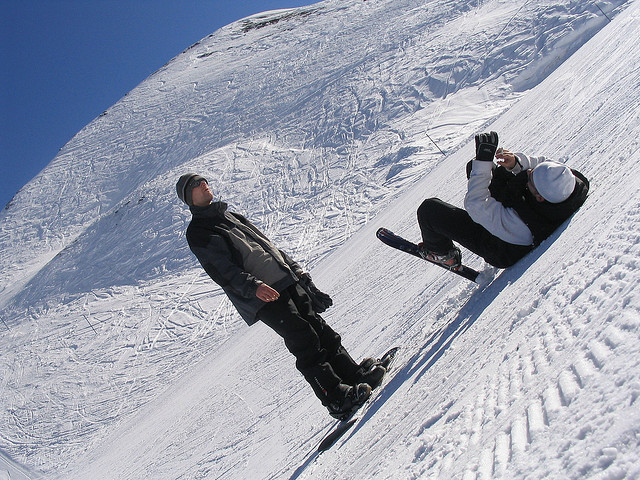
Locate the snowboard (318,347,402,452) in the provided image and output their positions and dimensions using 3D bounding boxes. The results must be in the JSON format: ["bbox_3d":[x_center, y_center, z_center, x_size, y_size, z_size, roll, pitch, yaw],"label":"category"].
[{"bbox_3d":[0.694,2.759,13.451,2.264,0.289,0.527,-43,17,-19],"label":"snowboard"}]

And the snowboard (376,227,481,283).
[{"bbox_3d":[2.390,0.404,14.170,2.969,0.211,0.346,22,45,26],"label":"snowboard"}]
